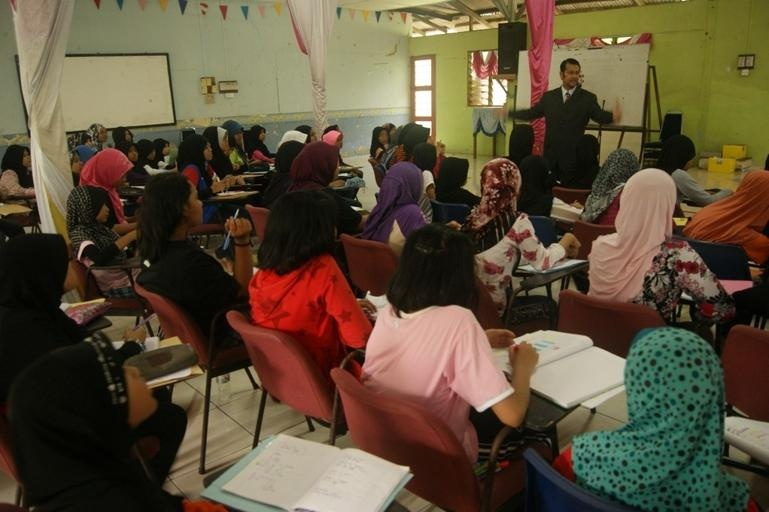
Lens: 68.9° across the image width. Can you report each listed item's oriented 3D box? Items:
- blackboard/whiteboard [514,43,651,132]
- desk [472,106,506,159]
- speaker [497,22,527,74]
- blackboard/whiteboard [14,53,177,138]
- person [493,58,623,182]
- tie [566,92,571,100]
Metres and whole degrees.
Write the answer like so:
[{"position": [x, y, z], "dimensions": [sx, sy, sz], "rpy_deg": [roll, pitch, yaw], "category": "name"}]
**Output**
[{"position": [2.574, -2.642, 8.172], "dimensions": [0.089, 1.391, 2.030], "rpy_deg": [3, 10, -30], "category": "blackboard/whiteboard"}, {"position": [2.364, -2.880, 12.814], "dimensions": [0.883, 1.139, 0.871], "rpy_deg": [-6, 27, -12], "category": "desk"}, {"position": [2.111, -3.568, 9.719], "dimensions": [0.396, 0.833, 0.287], "rpy_deg": [-5, 19, -12], "category": "speaker"}, {"position": [-4.051, -2.238, 7.813], "dimensions": [0.039, 1.282, 2.128], "rpy_deg": [6, 14, 41], "category": "blackboard/whiteboard"}, {"position": [2.203, -1.361, 7.004], "dimensions": [1.278, 1.966, 0.516], "rpy_deg": [11, 29, 28], "category": "person"}, {"position": [2.221, -1.915, 6.751], "dimensions": [0.052, 0.075, 0.030], "rpy_deg": [0, -6, 18], "category": "tie"}]
